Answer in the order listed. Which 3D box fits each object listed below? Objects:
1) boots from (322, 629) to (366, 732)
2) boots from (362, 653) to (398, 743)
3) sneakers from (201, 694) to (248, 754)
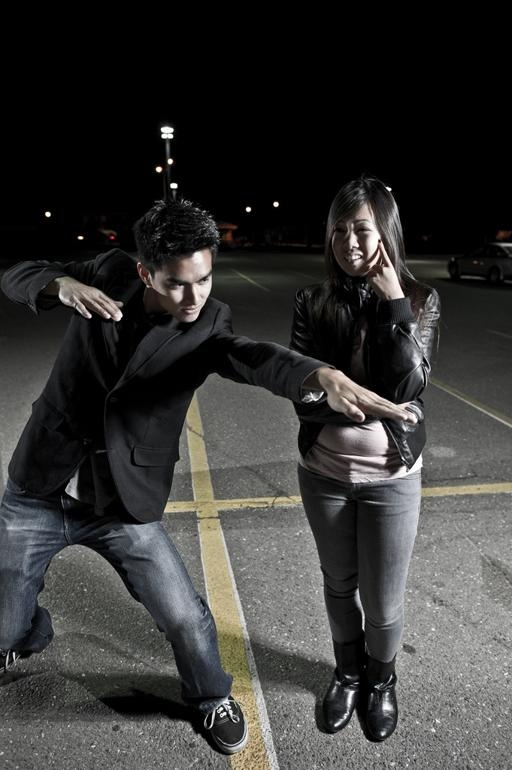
[{"bbox_3d":[0.339,1.193,2.450,0.136,0.252,0.389,-3,-1,22],"label":"boots"},{"bbox_3d":[0.479,1.237,2.371,0.115,0.213,0.323,-1,-6,8],"label":"boots"},{"bbox_3d":[-0.130,1.282,2.358,0.142,0.110,0.291,-2,13,-22],"label":"sneakers"}]
